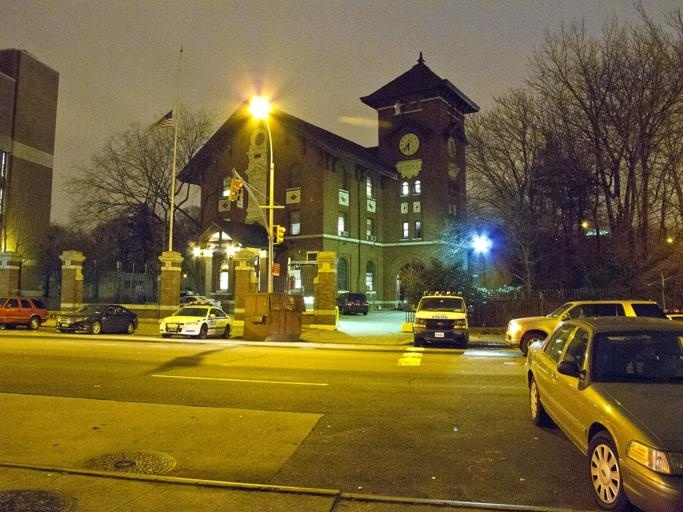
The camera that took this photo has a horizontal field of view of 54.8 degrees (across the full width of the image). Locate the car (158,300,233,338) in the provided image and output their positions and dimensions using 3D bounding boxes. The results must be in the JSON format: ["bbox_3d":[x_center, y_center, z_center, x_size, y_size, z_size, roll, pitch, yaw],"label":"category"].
[{"bbox_3d":[-5.958,2.827,28.503,1.413,1.134,2.490,-3,-11,18],"label":"car"}]

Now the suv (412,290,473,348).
[{"bbox_3d":[3.704,2.475,24.909,1.919,1.920,2.011,0,1,6],"label":"suv"}]

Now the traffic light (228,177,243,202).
[{"bbox_3d":[-4.565,-2.924,28.581,0.541,1.142,2.623,0,1,-10],"label":"traffic light"}]

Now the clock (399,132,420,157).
[{"bbox_3d":[5.841,-9.458,56.007,0.116,2.187,1.908,6,-1,-45],"label":"clock"}]

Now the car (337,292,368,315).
[{"bbox_3d":[0.718,3.292,45.593,2.048,1.427,1.191,-1,1,-11],"label":"car"}]
